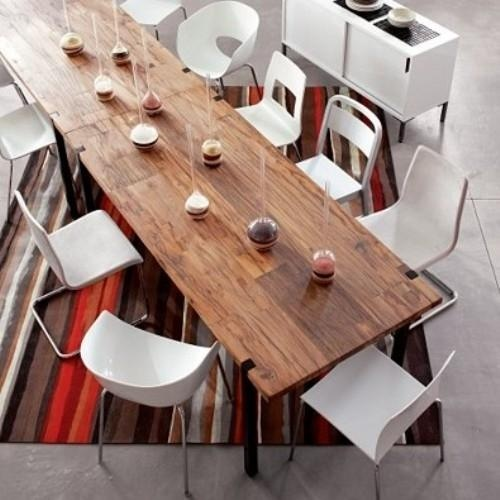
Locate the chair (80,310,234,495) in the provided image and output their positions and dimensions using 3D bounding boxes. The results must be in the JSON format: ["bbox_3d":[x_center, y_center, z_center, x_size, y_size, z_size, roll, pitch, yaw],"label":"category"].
[{"bbox_3d":[-0.397,0.683,1.946,0.336,0.586,0.441,17,60,7],"label":"chair"}]

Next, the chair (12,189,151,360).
[{"bbox_3d":[-0.875,0.161,2.408,0.386,0.687,0.357,-29,69,-26],"label":"chair"}]
